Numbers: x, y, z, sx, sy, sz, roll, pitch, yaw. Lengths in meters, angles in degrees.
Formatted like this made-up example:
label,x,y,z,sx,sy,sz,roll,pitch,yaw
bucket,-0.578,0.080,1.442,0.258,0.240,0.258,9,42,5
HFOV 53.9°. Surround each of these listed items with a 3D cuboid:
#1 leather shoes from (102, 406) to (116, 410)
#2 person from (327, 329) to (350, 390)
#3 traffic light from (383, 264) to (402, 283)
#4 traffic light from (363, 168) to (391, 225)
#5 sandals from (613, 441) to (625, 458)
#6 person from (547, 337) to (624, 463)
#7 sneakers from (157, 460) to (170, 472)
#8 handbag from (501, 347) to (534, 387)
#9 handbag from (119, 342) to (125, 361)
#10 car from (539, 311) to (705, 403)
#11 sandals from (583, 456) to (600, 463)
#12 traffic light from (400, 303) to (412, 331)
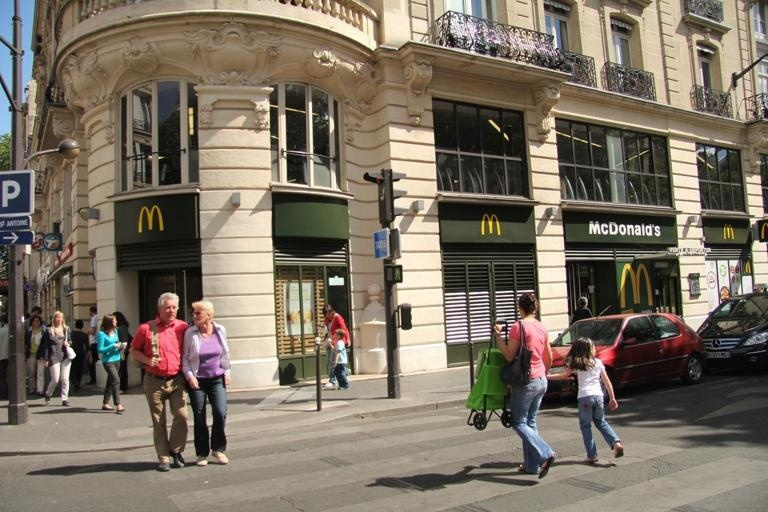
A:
label,x,y,z,sx,sy,sz,roll,pitch,yaw
leather shoes,-7.076,3.904,19.454,0.335,0.136,0.114,-1,-1,5
person,-1.238,2.859,21.101,0.484,1.646,0.891,-3,8,-4
traffic light,0.229,0.457,19.699,0.458,0.530,0.311,-2,8,5
traffic light,-0.052,-1.527,19.957,0.684,1.517,0.452,-1,8,14
sandals,4.622,3.833,14.845,0.180,0.212,0.490,-1,-31,6
person,4.206,2.827,15.043,1.098,2.409,0.873,0,9,16
sneakers,-4.414,4.214,15.171,0.140,0.140,0.288,5,-13,-26
handbag,2.571,2.098,14.382,0.697,0.915,0.329,4,-4,43
handbag,-6.951,2.518,20.132,0.119,0.453,0.316,6,-19,-8
car,6.384,2.626,19.884,3.836,1.534,2.236,1,-7,-26
sandals,4.109,4.015,14.936,0.260,0.111,0.105,0,0,29
traffic light,0.548,1.577,19.399,0.277,0.668,0.426,-4,8,-7
